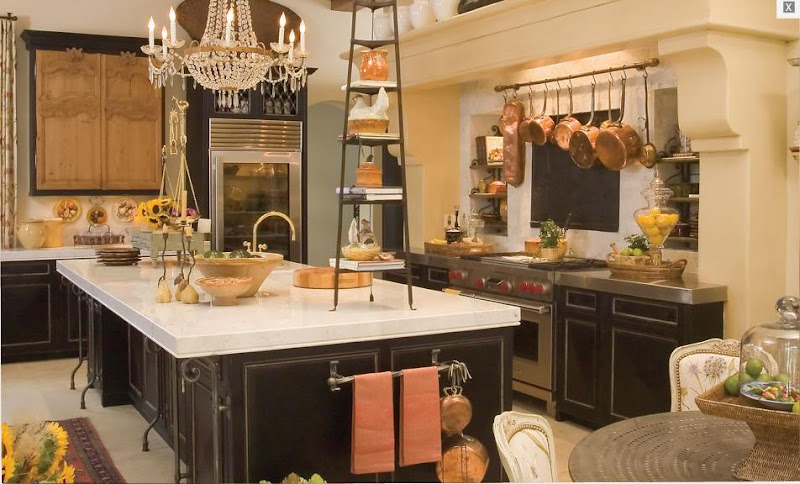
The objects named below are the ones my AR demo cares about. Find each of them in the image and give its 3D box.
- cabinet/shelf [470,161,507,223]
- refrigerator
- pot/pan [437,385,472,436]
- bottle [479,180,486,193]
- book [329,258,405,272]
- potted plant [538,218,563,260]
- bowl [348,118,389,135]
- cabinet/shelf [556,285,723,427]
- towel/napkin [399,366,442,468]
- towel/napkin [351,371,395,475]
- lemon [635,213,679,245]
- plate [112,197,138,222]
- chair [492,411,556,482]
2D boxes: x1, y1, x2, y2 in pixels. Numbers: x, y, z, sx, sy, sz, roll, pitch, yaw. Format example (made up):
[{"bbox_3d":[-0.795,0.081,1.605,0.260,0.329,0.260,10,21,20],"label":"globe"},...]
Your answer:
[{"bbox_3d":[1.004,-0.557,6.703,0.256,0.647,0.750,0,1,-31],"label":"cabinet/shelf"},{"bbox_3d":[-1.759,-0.500,7.502,1.164,1.889,0.808,-1,-4,-10],"label":"refrigerator"},{"bbox_3d":[0.287,0.953,3.455,0.245,0.282,0.105,-11,0,-20],"label":"pot/pan"},{"bbox_3d":[0.938,-0.632,6.716,0.120,0.159,0.115,0,2,0],"label":"bottle"},{"bbox_3d":[-0.198,0.142,3.666,0.431,0.098,0.241,-2,6,-7],"label":"book"},{"bbox_3d":[1.430,-0.028,5.580,0.181,0.365,0.284,2,7,30],"label":"potted plant"},{"bbox_3d":[-0.178,-0.709,3.655,0.147,0.044,0.139,0,3,0],"label":"bowl"},{"bbox_3d":[1.944,0.976,4.957,0.719,1.320,1.481,4,-1,-19],"label":"cabinet/shelf"},{"bbox_3d":[0.114,0.972,3.391,0.252,0.546,0.188,-3,6,-4],"label":"towel/napkin"},{"bbox_3d":[-0.147,1.028,3.315,0.248,0.637,0.214,-2,6,-3],"label":"towel/napkin"},{"bbox_3d":[2.069,-0.116,4.943,0.310,0.309,0.289,0,0,-3],"label":"lemon"},{"bbox_3d":[-3.383,-0.405,7.392,0.264,0.284,0.088,-5,7,-25],"label":"plate"},{"bbox_3d":[0.575,0.972,2.747,0.219,0.374,0.382,1,7,25],"label":"chair"}]
